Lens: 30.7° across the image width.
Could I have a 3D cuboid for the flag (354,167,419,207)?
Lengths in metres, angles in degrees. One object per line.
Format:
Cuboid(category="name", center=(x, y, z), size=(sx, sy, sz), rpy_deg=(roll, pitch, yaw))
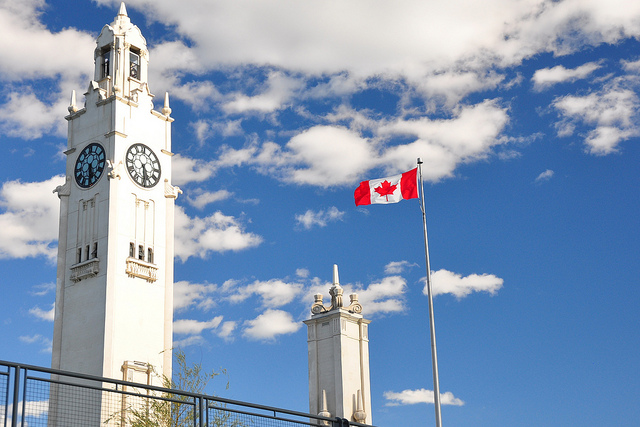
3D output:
Cuboid(category="flag", center=(4.484, -1.548, 79.248), size=(4.287, 2.859, 0.500), rpy_deg=(-2, -16, 7))
